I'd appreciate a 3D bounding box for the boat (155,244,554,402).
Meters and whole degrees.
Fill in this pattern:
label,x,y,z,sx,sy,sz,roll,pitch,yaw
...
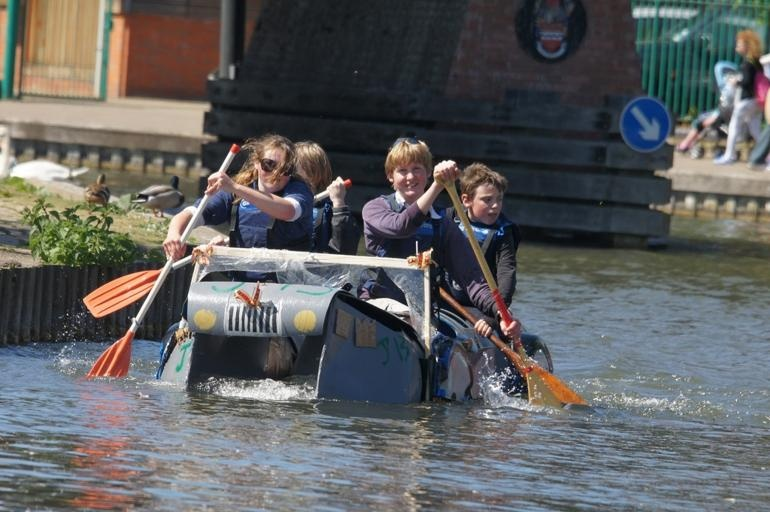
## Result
label,x,y,z,sx,sy,sz,roll,pitch,yaw
boat,-0.408,0.849,19.059,3.151,1.713,4.814,1,-3,22

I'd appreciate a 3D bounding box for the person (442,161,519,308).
label,x,y,z,sx,sy,sz,roll,pitch,yaw
person,0.988,-0.174,18.292,1.151,1.575,1.229,6,4,25

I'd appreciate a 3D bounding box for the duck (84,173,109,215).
label,x,y,z,sx,sy,sz,roll,pitch,yaw
duck,-3.954,-0.851,23.083,0.348,0.546,1.043,0,6,-3

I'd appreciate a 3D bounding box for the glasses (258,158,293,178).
label,x,y,z,sx,sy,sz,roll,pitch,yaw
glasses,-1.146,-0.925,17.636,0.355,0.193,0.073,0,4,-9

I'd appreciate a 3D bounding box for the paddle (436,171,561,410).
label,x,y,z,sx,sy,sz,roll,pitch,yaw
paddle,1.343,0.420,17.714,1.027,2.568,1.028,1,2,-2

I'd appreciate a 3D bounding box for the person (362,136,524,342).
label,x,y,z,sx,sy,sz,roll,pitch,yaw
person,0.440,-0.391,17.550,1.064,2.937,0.968,1,2,-3

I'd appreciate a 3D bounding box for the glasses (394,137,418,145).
label,x,y,z,sx,sy,sz,roll,pitch,yaw
glasses,0.216,-1.192,17.592,0.224,0.068,0.298,-1,4,-36

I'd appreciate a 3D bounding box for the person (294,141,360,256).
label,x,y,z,sx,sy,sz,roll,pitch,yaw
person,-0.846,-0.275,18.586,0.622,1.926,0.575,-6,13,-18

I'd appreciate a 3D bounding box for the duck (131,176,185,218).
label,x,y,z,sx,sy,sz,roll,pitch,yaw
duck,-3.215,-0.840,23.666,0.876,0.598,0.453,0,-4,-35
